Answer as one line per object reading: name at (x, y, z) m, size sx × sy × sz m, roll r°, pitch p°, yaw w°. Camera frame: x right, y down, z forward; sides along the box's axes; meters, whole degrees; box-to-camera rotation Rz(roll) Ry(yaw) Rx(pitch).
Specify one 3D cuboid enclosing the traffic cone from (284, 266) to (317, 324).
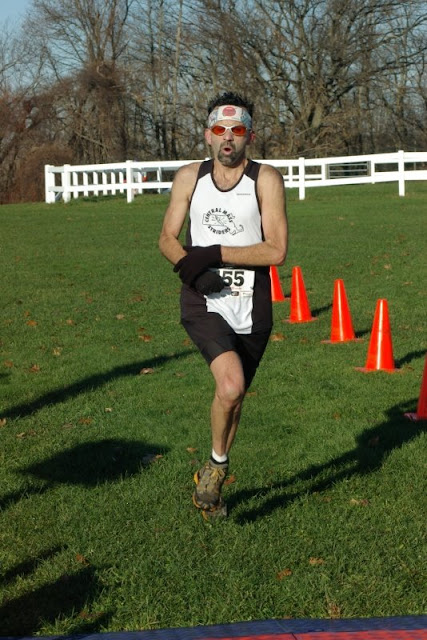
traffic cone at (1.114, -0.341, 7.866) m, size 0.315 × 0.686 × 0.672 m, roll -1°, pitch 8°, yaw 9°

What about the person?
person at (0.069, -0.113, 3.265) m, size 0.672 × 2.258 × 0.776 m, roll -3°, pitch 8°, yaw -5°

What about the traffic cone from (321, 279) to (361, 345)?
traffic cone at (1.436, -0.133, 6.938) m, size 0.336 × 0.700 × 0.754 m, roll 0°, pitch 8°, yaw 12°

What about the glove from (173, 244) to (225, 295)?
glove at (-0.064, -0.276, 3.142) m, size 0.222 × 0.270 × 0.086 m, roll 9°, pitch -27°, yaw -6°

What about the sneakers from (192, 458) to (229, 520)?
sneakers at (-0.019, 0.870, 3.196) m, size 0.183 × 0.327 × 0.282 m, roll -2°, pitch 8°, yaw -2°

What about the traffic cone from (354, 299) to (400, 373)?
traffic cone at (1.513, 0.137, 5.677) m, size 0.341 × 0.677 × 0.320 m, roll 0°, pitch 8°, yaw 14°
